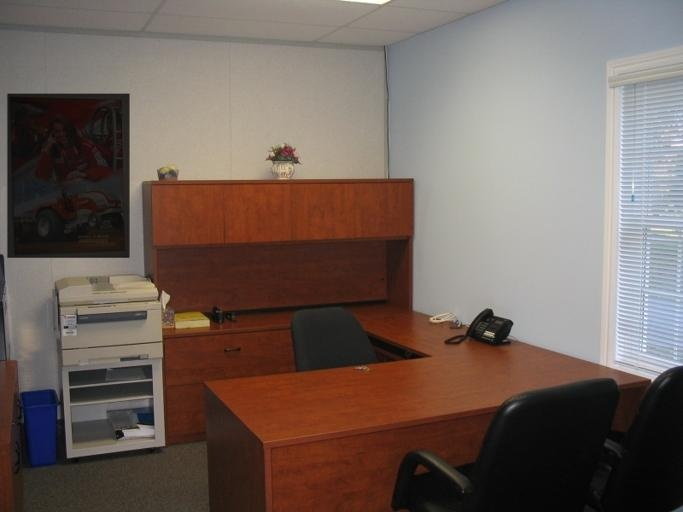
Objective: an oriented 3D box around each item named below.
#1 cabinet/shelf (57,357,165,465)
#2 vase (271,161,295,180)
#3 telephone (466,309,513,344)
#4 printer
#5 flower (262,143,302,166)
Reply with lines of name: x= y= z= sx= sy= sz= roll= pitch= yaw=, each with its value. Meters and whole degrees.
cabinet/shelf: x=-1.813 y=1.243 z=4.164 sx=0.777 sy=0.827 sz=0.446 roll=0 pitch=0 yaw=-18
vase: x=-0.525 y=-0.770 z=4.744 sx=0.162 sy=0.126 sz=0.170 roll=0 pitch=1 yaw=0
telephone: x=1.105 y=0.553 z=3.974 sx=0.271 sy=0.194 sz=0.277 roll=-16 pitch=15 yaw=-25
printer: x=-1.839 y=0.348 z=4.190 sx=0.783 sy=0.701 sz=0.588 roll=-1 pitch=3 yaw=-20
flower: x=-0.547 y=-0.944 z=4.844 sx=0.324 sy=0.211 sz=0.374 roll=-3 pitch=6 yaw=-4
